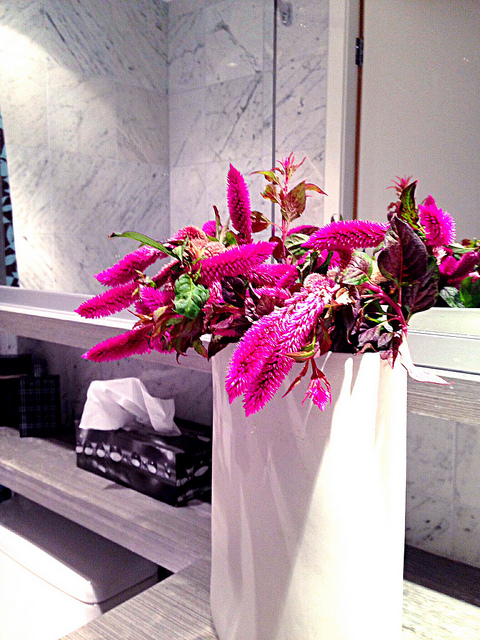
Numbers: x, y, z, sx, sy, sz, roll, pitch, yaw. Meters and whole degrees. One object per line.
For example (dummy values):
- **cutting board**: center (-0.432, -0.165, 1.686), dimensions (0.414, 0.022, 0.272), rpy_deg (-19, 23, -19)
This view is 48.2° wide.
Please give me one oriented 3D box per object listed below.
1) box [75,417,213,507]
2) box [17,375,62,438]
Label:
- **box**: center (-0.131, 0.230, 0.915), dimensions (0.368, 0.088, 0.151), rpy_deg (3, 2, 41)
- **box**: center (-0.443, 0.193, 1.229), dimensions (0.110, 0.196, 0.121), rpy_deg (-1, -7, -14)
